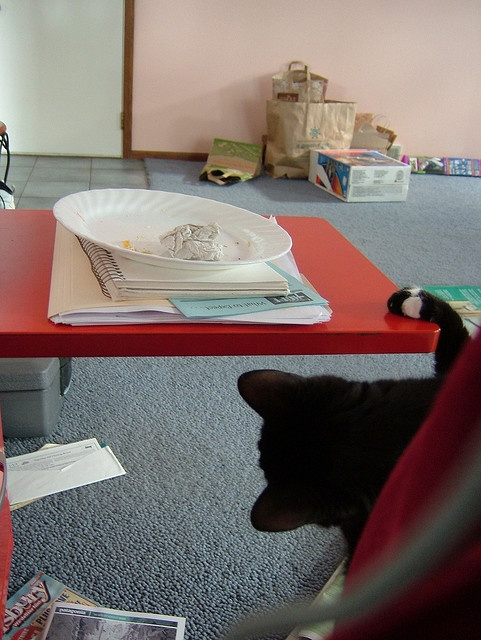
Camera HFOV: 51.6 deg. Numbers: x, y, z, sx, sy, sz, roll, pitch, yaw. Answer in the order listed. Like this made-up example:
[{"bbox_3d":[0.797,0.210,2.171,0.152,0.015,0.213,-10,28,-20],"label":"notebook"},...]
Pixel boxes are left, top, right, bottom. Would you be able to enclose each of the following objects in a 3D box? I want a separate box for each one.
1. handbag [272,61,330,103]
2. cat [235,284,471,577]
[{"bbox_3d":[0.365,-1.486,3.102,0.322,0.227,0.410,-2,27,-9],"label":"handbag"},{"bbox_3d":[0.105,0.144,0.618,0.315,0.327,0.147,-19,-16,12],"label":"cat"}]
